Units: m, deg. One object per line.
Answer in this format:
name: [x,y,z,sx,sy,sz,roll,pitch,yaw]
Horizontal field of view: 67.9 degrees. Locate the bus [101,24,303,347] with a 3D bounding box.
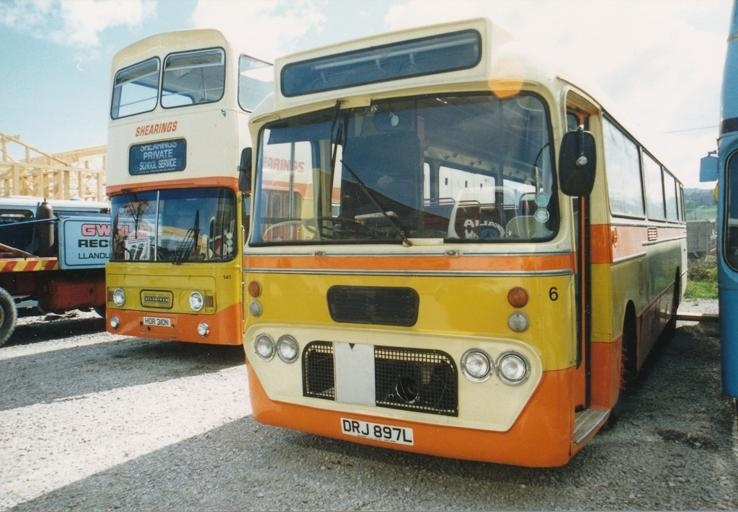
bus: [-2.786,-1.414,13.459,2.906,5.613,8.673,0,2,10]
